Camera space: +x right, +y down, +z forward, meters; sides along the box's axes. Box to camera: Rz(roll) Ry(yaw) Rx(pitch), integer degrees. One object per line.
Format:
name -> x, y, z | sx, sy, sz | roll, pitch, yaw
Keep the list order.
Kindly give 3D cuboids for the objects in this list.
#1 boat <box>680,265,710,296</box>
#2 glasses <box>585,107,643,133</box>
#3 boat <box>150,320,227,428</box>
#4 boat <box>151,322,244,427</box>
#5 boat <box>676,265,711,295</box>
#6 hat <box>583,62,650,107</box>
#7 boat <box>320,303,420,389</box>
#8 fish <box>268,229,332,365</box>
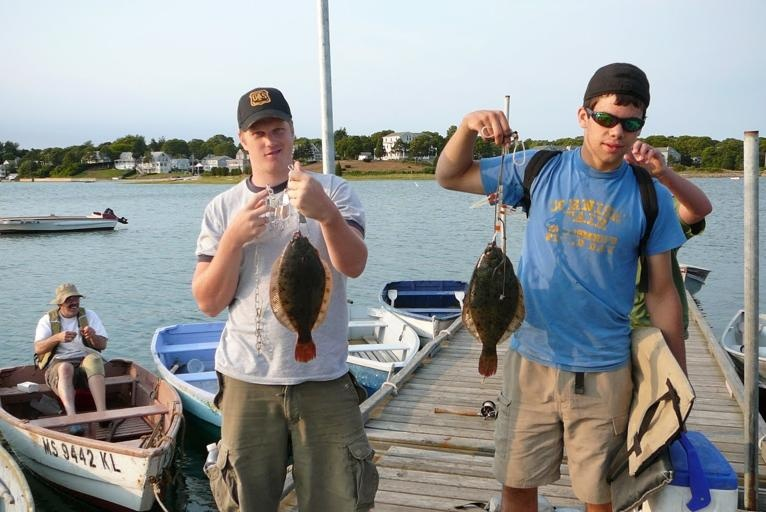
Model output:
boat -> 9.070, 0.697, 18.806 | 0.857, 0.584, 2.044 | -6, 1, 19
glasses -> 1.748, -1.018, 4.886 | 0.411, 0.188, 0.125 | 1, 10, 16
boat -> -3.598, 1.956, 11.944 | 1.556, 0.651, 3.675 | -1, 7, -15
boat -> -3.631, 1.926, 12.160 | 1.618, 0.655, 3.840 | -1, 8, -15
boat -> 8.255, 0.626, 17.155 | 0.936, 0.671, 2.433 | -6, -1, 21
hat -> 1.750, -1.265, 4.858 | 0.455, 0.322, 0.261 | 2, 10, 18
boat -> -0.097, 1.365, 9.674 | 1.478, 0.808, 3.228 | -4, 7, 0
fish -> -0.611, 0.291, 4.800 | 0.451, 0.920, 0.246 | -2, 10, -5
